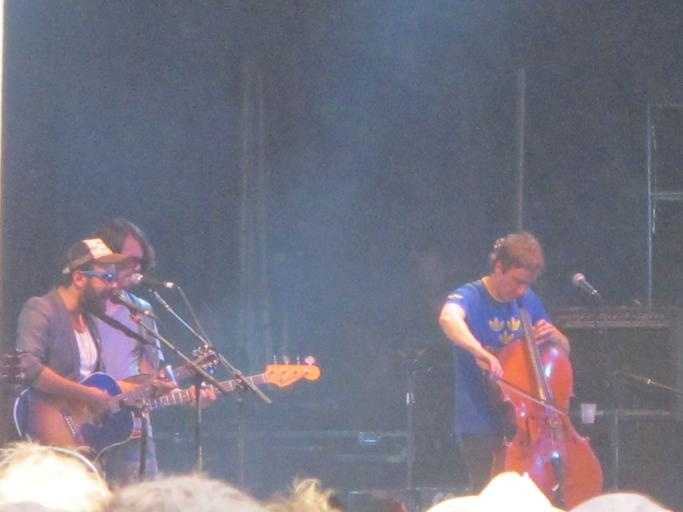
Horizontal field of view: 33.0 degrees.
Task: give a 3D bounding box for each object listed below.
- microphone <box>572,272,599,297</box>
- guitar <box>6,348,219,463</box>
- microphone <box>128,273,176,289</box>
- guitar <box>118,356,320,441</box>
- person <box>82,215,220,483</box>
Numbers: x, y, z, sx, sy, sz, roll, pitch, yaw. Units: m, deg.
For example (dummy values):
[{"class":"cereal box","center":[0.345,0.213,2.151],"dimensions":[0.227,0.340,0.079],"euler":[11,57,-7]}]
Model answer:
[{"class":"microphone","center":[2.150,0.250,10.208],"dimensions":[0.148,0.173,0.375],"euler":[2,17,-21]},{"class":"guitar","center":[-1.868,1.242,9.492],"dimensions":[1.661,0.817,0.256],"euler":[-18,-1,-33]},{"class":"microphone","center":[-1.627,0.209,9.772],"dimensions":[0.314,0.076,0.077],"euler":[11,-2,30]},{"class":"guitar","center":[-0.962,1.126,9.555],"dimensions":[1.720,0.696,0.216],"euler":[-17,6,-21]},{"class":"person","center":[-1.699,0.738,9.521],"dimensions":[0.318,2.412,0.853],"euler":[-17,-1,38]}]
